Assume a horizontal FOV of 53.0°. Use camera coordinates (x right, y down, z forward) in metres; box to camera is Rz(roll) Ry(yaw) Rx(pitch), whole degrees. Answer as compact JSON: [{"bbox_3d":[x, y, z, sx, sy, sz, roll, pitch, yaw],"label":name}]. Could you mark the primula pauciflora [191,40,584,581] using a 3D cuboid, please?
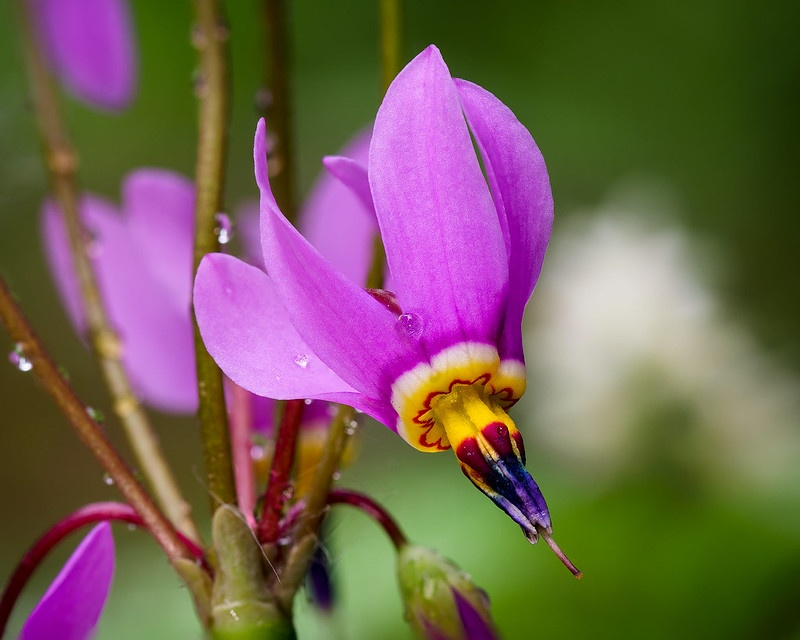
[{"bbox_3d":[0.004,-0.004,0.551,0.205,0.393,0.226,1,5,-7],"label":"primula pauciflora"}]
